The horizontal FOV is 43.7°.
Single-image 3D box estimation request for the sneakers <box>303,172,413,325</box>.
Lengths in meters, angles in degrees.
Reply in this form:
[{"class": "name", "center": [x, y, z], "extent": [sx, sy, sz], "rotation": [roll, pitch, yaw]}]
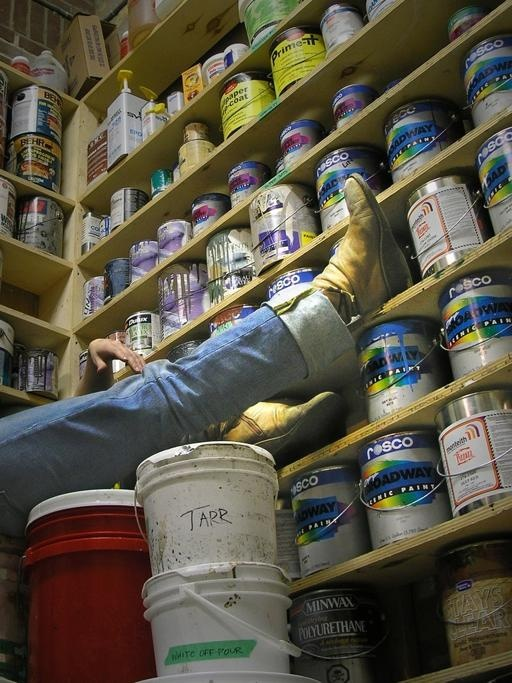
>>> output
[{"class": "sneakers", "center": [0.214, -0.172, 1.392], "extent": [0.182, 0.384, 0.134], "rotation": [-27, 1, -2]}]
